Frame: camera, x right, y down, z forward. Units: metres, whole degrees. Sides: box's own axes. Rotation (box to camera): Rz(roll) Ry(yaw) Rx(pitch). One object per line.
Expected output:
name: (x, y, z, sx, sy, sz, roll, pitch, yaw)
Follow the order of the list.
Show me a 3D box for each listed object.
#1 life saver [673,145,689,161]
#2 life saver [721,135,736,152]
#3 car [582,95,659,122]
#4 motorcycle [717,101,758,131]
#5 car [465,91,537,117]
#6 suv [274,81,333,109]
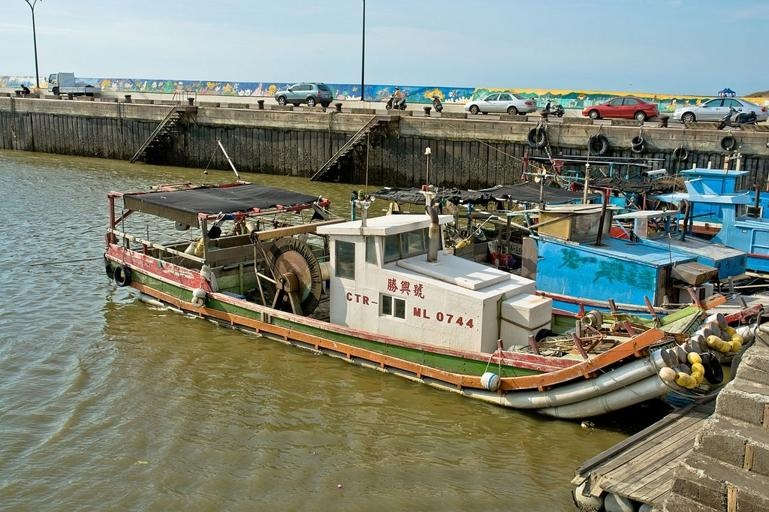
life saver: (13.068, -4.528, 33.566, 0.752, 0.702, 0.286, -1, 2, 3)
life saver: (14.638, -4.789, 32.524, 0.544, 0.710, 0.387, 8, -1, 45)
car: (12.488, -7.734, 40.112, 3.531, 1.172, 1.297, 5, 13, 20)
motorcycle: (17.101, -6.813, 37.000, 2.439, 1.493, 1.430, 2, 9, 25)
car: (6.594, -8.599, 43.432, 3.689, 1.168, 1.582, 6, 19, 14)
suv: (-4.913, -9.882, 46.897, 3.041, 1.346, 1.749, 4, 12, 13)
